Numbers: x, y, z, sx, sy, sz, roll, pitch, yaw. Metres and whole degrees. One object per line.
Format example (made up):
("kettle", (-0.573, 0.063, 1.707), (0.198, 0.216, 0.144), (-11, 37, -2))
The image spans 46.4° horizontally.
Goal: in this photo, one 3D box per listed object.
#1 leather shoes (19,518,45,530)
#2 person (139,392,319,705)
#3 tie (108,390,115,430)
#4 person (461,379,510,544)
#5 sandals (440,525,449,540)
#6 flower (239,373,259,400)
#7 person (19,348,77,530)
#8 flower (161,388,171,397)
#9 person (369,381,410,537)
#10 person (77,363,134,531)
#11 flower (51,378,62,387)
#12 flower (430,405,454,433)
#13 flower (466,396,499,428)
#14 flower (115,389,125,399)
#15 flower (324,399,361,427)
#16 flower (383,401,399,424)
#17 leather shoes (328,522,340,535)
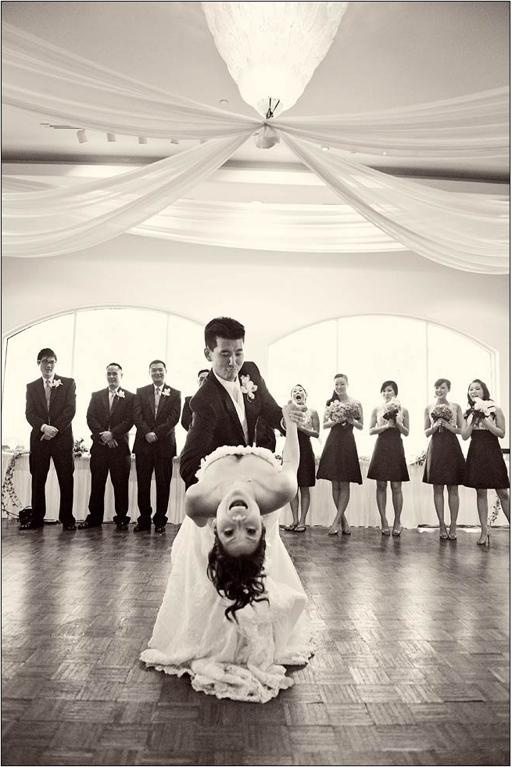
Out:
("leather shoes", (-2.145, 1.323, 5.703), (0.220, 0.098, 0.172), (4, -5, -27))
("person", (-0.069, 0.608, 2.261), (0.577, 1.347, 0.880), (0, -11, 2))
("tie", (-1.492, 0.271, 6.122), (0.030, 0.388, 0.041), (2, -12, -7))
("person", (2.078, 0.691, 5.365), (0.374, 1.461, 0.567), (-1, -4, 35))
("sandals", (1.770, 1.412, 5.598), (0.048, 0.083, 0.174), (-1, -16, 6))
("flower", (-0.025, 0.010, 2.233), (0.019, 0.086, 0.067), (-16, 3, 33))
("person", (-2.019, 0.515, 5.869), (0.530, 1.746, 0.550), (1, -3, -15))
("flower", (-0.909, 0.076, 6.074), (0.060, 0.091, 0.033), (6, -18, -30))
("person", (1.293, 0.806, 5.846), (0.379, 1.317, 0.389), (0, -3, 17))
("person", (-1.480, 0.590, 5.979), (0.492, 1.646, 0.517), (1, -3, -7))
("flower", (-1.997, -0.016, 5.964), (0.059, 0.090, 0.026), (-1, -21, 8))
("flower", (1.744, 0.297, 5.585), (0.207, 0.208, 0.135), (-1, -4, 25))
("flower", (1.981, 0.237, 5.217), (0.218, 0.235, 0.186), (-1, -4, 26))
("flower", (-1.406, 0.108, 6.157), (0.058, 0.096, 0.030), (1, 2, -3))
("flower", (0.856, 0.289, 5.875), (0.352, 0.238, 0.271), (0, -4, 12))
("flower", (1.307, 0.268, 5.747), (0.157, 0.187, 0.116), (0, -3, 12))
("leather shoes", (0.767, 1.389, 5.780), (0.093, 0.106, 0.371), (0, -5, 14))
